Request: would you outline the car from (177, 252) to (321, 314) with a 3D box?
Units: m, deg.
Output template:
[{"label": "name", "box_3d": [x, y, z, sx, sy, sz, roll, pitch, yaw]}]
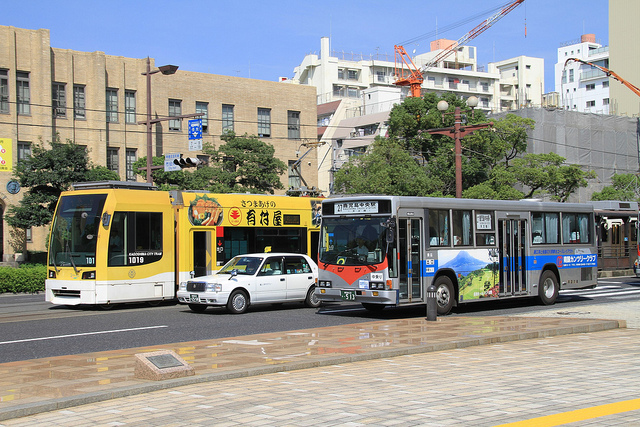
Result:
[{"label": "car", "box_3d": [-2.268, 2.406, 26.169, 4.735, 1.543, 2.101, 4, -7, -42]}]

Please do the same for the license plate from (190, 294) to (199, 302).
[{"label": "license plate", "box_3d": [-4.208, 2.798, 24.967, 0.391, 0.237, 0.041, 1, 3, 29]}]

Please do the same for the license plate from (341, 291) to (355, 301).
[{"label": "license plate", "box_3d": [0.895, 2.619, 23.996, 0.538, 0.284, 0.036, 1, 3, 41]}]

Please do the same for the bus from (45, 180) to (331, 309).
[{"label": "bus", "box_3d": [-4.968, 0.886, 28.974, 10.568, 4.313, 2.911, -2, 3, -37]}]
